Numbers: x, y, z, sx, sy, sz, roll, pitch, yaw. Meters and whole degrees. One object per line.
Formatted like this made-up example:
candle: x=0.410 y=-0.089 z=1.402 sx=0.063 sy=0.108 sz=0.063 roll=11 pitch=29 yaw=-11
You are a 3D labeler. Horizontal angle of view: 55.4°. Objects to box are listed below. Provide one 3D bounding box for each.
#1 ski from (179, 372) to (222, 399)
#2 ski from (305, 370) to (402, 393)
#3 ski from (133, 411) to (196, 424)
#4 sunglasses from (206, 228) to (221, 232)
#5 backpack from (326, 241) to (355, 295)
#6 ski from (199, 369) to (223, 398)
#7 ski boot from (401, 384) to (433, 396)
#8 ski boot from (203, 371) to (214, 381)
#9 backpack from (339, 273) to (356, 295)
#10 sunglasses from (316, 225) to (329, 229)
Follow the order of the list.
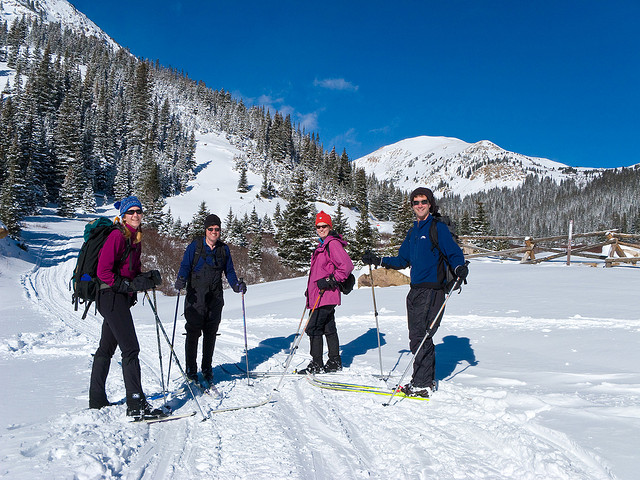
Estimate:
ski: x=-2.636 y=3.162 z=13.291 sx=1.186 sy=0.258 sz=0.209 roll=28 pitch=9 yaw=34
ski: x=0.745 y=3.128 z=13.501 sx=2.377 sy=0.252 sz=0.259 roll=4 pitch=0 yaw=11
ski: x=-3.139 y=3.516 z=12.131 sx=0.960 sy=0.131 sz=0.124 roll=5 pitch=28 yaw=-22
sunglasses: x=-2.391 y=-0.236 z=13.617 sx=0.304 sy=0.079 sz=0.133 roll=2 pitch=0 yaw=-19
backpack: x=0.477 y=0.688 z=14.145 sx=0.392 sy=1.076 sz=0.784 roll=-14 pitch=-8 yaw=35
ski: x=-2.402 y=3.107 z=13.345 sx=0.123 sy=0.156 sz=1.155 roll=3 pitch=15 yaw=-30
ski boot: x=2.044 y=3.156 z=12.776 sx=0.622 sy=0.277 sz=0.230 roll=7 pitch=-15 yaw=4
ski boot: x=-2.506 y=3.021 z=13.710 sx=0.199 sy=0.145 sz=0.051 roll=0 pitch=-22 yaw=-44
backpack: x=0.703 y=1.000 z=13.912 sx=0.158 sy=0.435 sz=0.324 roll=27 pitch=0 yaw=-23
sunglasses: x=0.039 y=-0.318 z=14.161 sx=0.283 sy=0.086 sz=0.103 roll=2 pitch=0 yaw=24
